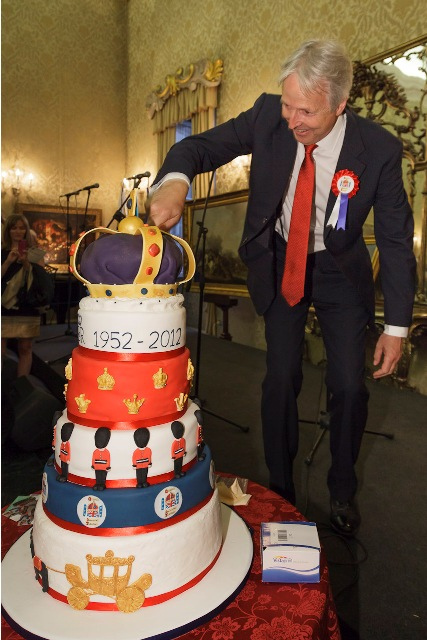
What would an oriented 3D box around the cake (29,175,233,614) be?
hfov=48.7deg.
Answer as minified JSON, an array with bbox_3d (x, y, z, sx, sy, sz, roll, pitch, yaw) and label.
[{"bbox_3d":[-0.175,0.132,1.112,0.485,0.918,0.360,-3,7,-31],"label":"cake"}]

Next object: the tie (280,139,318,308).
[{"bbox_3d":[0.311,-0.281,1.827,0.090,0.772,0.078,6,22,6],"label":"tie"}]

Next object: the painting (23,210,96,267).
[{"bbox_3d":[-3.399,-1.773,10.401,1.762,1.384,0.063,4,6,5],"label":"painting"}]
